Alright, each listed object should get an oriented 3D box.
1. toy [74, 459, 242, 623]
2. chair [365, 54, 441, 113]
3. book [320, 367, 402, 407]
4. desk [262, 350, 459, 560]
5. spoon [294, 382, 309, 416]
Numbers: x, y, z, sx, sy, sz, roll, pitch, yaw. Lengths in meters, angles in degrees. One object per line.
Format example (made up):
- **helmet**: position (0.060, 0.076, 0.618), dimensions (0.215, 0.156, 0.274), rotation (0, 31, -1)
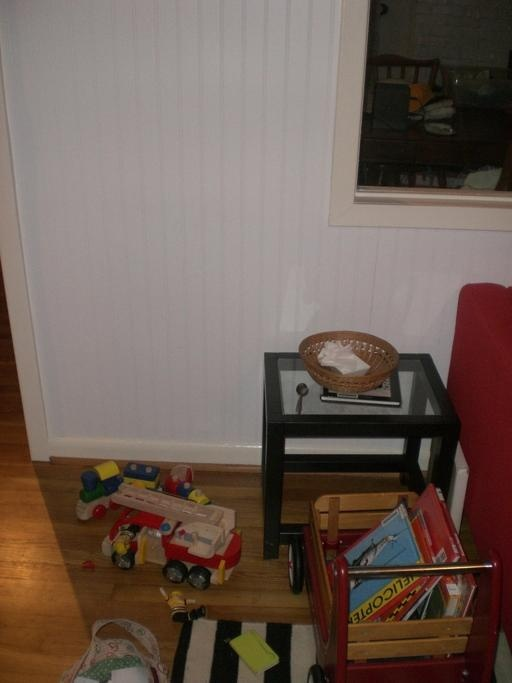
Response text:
- **toy**: position (-0.303, 0.607, 1.795), dimensions (0.434, 0.138, 0.432), rotation (7, 35, 3)
- **chair**: position (0.521, -0.936, 1.989), dimensions (0.334, 0.191, 0.116), rotation (-8, 29, -19)
- **book**: position (0.328, 0.145, 1.716), dimensions (0.253, 0.027, 0.161), rotation (4, 27, 4)
- **desk**: position (0.310, 0.389, 1.862), dimensions (0.564, 0.522, 0.421), rotation (-4, 27, 3)
- **spoon**: position (0.132, 0.171, 1.678), dimensions (0.024, 0.018, 0.106), rotation (-8, 29, 15)
